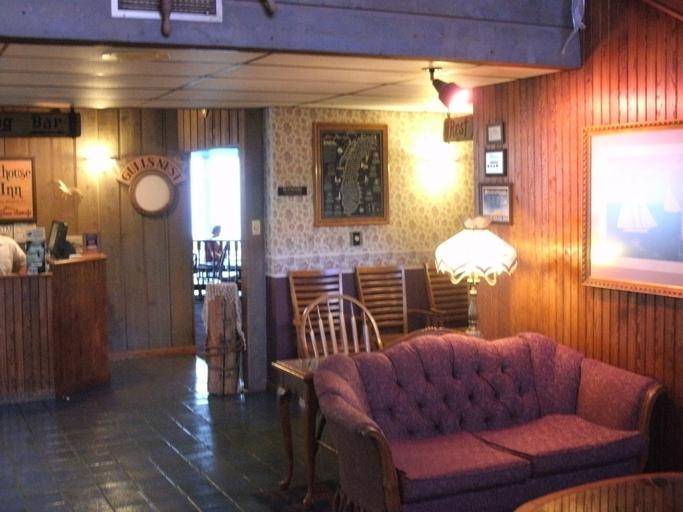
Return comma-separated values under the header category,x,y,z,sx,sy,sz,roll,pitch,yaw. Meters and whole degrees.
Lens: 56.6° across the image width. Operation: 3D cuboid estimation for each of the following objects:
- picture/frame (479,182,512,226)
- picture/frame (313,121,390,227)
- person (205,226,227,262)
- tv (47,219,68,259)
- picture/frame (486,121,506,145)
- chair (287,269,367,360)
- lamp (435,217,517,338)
category,x,y,z,sx,sy,sz,roll,pitch,yaw
picture/frame,1.347,-0.451,5.500,0.024,0.351,0.363,-1,3,-22
picture/frame,0.071,-0.956,7.218,1.015,1.409,0.081,-1,1,-30
person,-2.482,-0.232,12.458,0.351,0.704,0.882,-1,6,-13
tv,-3.305,-0.187,7.423,0.106,0.420,0.368,13,0,-34
picture/frame,1.351,-1.077,5.540,0.026,0.193,0.199,0,2,-22
chair,-0.042,0.545,6.938,0.589,1.232,0.794,-1,0,-16
lamp,1.018,0.158,5.176,0.745,1.131,0.828,1,7,12
